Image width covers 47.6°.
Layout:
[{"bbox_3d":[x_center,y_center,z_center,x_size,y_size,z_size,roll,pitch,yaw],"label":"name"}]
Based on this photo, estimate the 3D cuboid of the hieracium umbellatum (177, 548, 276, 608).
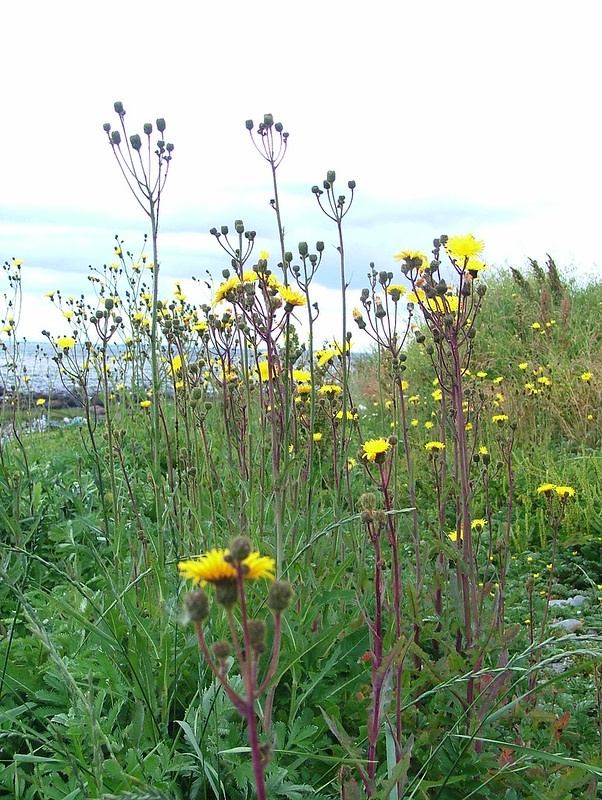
[{"bbox_3d":[-0.096,0.203,0.796,0.091,0.051,0.098,-24,-17,33],"label":"hieracium umbellatum"}]
